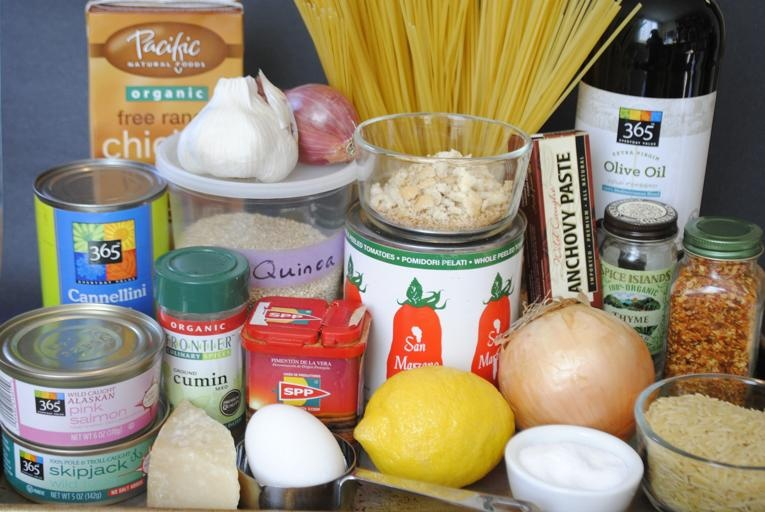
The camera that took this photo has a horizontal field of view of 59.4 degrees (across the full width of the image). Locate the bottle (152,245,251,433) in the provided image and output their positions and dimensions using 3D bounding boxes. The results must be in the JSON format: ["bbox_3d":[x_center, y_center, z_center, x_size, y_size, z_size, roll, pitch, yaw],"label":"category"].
[{"bbox_3d":[-0.244,0.118,0.918,0.111,0.241,0.104,4,12,-1],"label":"bottle"}]

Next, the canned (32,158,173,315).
[{"bbox_3d":[-0.386,-0.024,0.932,0.167,0.195,0.166,-20,25,-39],"label":"canned"}]

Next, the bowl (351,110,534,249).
[{"bbox_3d":[0.080,-0.115,0.933,0.206,0.148,0.184,-14,22,-29],"label":"bowl"}]

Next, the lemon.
[{"bbox_3d":[0.060,0.220,0.879,0.177,0.134,0.128,-2,-18,-13],"label":"lemon"}]

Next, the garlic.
[{"bbox_3d":[-0.203,-0.198,0.968,0.149,0.133,0.148,-8,19,-25],"label":"garlic"}]

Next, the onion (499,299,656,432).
[{"bbox_3d":[0.271,0.173,0.949,0.221,0.212,0.221,1,-17,-25],"label":"onion"}]

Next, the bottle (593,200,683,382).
[{"bbox_3d":[0.370,0.053,1.020,0.098,0.249,0.101,2,21,-1],"label":"bottle"}]
